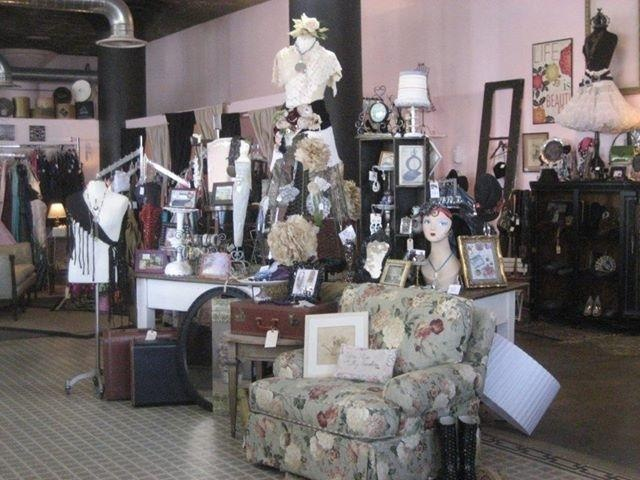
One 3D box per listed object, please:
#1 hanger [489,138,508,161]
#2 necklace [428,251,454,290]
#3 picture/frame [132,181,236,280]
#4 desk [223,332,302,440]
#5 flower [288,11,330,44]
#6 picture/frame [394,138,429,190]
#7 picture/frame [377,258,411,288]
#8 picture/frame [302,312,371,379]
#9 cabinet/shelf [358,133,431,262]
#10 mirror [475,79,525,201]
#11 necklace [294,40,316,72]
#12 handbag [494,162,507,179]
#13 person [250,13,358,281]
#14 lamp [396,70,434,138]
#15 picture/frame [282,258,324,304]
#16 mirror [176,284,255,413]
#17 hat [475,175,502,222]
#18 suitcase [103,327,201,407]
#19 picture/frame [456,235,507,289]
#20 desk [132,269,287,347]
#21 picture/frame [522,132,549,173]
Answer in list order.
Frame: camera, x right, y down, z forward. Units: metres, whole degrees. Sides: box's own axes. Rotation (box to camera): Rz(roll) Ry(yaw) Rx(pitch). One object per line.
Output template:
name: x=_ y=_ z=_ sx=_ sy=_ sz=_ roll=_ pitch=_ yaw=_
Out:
hanger: x=2.369 y=-1.204 z=7.707 sx=0.066 sy=0.253 sz=0.232 roll=9 pitch=0 yaw=-25
necklace: x=0.873 y=0.226 z=4.175 sx=0.255 sy=0.335 sz=0.027 roll=1 pitch=-23 yaw=29
picture/frame: x=-1.135 y=-0.087 z=5.130 sx=0.967 sy=0.762 sz=0.616 roll=3 pitch=6 yaw=41
desk: x=-0.475 y=0.971 z=4.086 sx=0.365 sy=0.460 sz=0.388 roll=-5 pitch=-16 yaw=32
flower: x=-0.097 y=-1.669 z=4.537 sx=0.257 sy=0.252 sz=0.321 roll=-2 pitch=5 yaw=-2
picture/frame: x=0.691 y=-0.574 z=4.312 sx=0.255 sy=0.342 sz=0.073 roll=-3 pitch=5 yaw=-24
picture/frame: x=0.512 y=0.226 z=4.060 sx=0.205 sy=0.244 sz=0.039 roll=3 pitch=-39 yaw=28
picture/frame: x=0.114 y=0.673 z=3.662 sx=0.374 sy=0.392 sz=0.025 roll=1 pitch=-17 yaw=1
cabinet/shelf: x=0.419 y=-0.344 z=4.353 sx=0.373 sy=0.781 sz=0.243 roll=8 pitch=12 yaw=8
mirror: x=2.392 y=-1.295 z=7.753 sx=0.492 sy=1.590 sz=0.035 roll=9 pitch=17 yaw=31
necklace: x=-0.109 y=-1.406 z=4.464 sx=0.220 sy=0.301 sz=0.029 roll=2 pitch=3 yaw=17
handbag: x=2.383 y=-0.927 z=7.695 sx=0.161 sy=0.239 sz=0.073 roll=-3 pitch=2 yaw=20
person: x=-0.131 y=-0.727 z=4.544 sx=0.796 sy=2.008 sz=0.806 roll=-1 pitch=4 yaw=3
lamp: x=0.730 y=-1.084 z=4.599 sx=0.266 sy=0.574 sz=0.702 roll=0 pitch=5 yaw=11
picture/frame: x=-0.097 y=0.285 z=4.153 sx=0.237 sy=0.263 sz=0.070 roll=-5 pitch=-24 yaw=34
mirror: x=-0.809 y=0.829 z=4.494 sx=0.893 sy=1.186 sz=0.083 roll=-1 pitch=-4 yaw=9
hat: x=1.300 y=-0.329 z=4.506 sx=0.192 sy=0.366 sz=0.329 roll=0 pitch=5 yaw=19
suitcase: x=-1.470 y=1.012 z=4.838 sx=0.870 sy=0.680 sz=0.522 roll=1 pitch=2 yaw=-10
picture/frame: x=1.149 y=0.161 z=4.187 sx=0.362 sy=0.386 sz=0.058 roll=0 pitch=-16 yaw=-33
desk: x=-1.101 y=0.679 z=5.240 sx=1.051 sy=0.696 sz=0.373 roll=4 pitch=2 yaw=-11
picture/frame: x=2.772 y=-1.129 z=7.502 sx=0.012 sy=0.487 sz=0.328 roll=-6 pitch=8 yaw=-39
